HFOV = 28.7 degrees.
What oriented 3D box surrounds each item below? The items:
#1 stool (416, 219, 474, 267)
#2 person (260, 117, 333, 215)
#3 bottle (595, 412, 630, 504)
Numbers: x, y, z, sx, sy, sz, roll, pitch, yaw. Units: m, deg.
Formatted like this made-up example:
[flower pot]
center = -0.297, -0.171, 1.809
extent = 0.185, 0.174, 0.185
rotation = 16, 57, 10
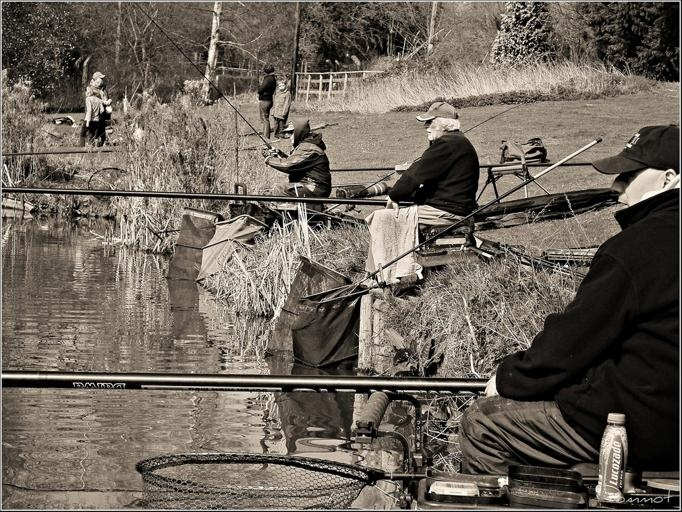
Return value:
[stool]
center = 1.311, -0.164, 17.137
extent = 0.709, 0.609, 0.683
rotation = -1, 6, -9
[person]
center = -0.649, -1.421, 21.789
extent = 1.083, 1.504, 0.860
rotation = -2, 11, 3
[bottle]
center = 2.499, 1.878, 12.370
extent = 0.457, 0.718, 0.418
rotation = 3, 11, -1
